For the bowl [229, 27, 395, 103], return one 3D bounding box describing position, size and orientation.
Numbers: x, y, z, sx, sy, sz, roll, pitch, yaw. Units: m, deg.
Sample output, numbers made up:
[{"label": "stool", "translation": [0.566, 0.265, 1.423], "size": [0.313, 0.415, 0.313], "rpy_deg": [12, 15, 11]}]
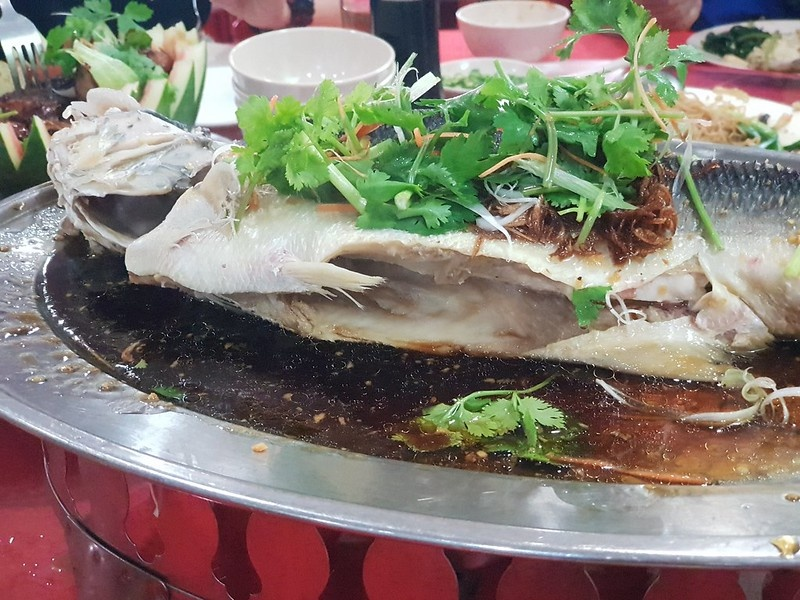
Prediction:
[{"label": "bowl", "translation": [-0.327, -0.893, 3.139], "size": [0.565, 0.220, 0.524], "rpy_deg": [1, 32, -1]}]
